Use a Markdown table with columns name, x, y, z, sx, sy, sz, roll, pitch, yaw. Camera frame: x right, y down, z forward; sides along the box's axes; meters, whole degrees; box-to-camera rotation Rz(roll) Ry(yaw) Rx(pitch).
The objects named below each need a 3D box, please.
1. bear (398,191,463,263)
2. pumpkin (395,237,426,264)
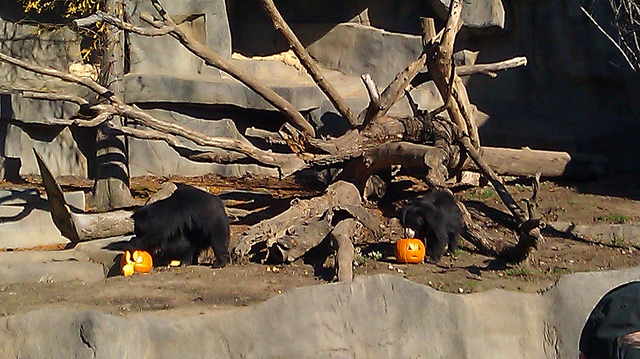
| name | x | y | z | sx | sy | sz | roll | pitch | yaw |
| --- | --- | --- | --- | --- | --- | --- | --- | --- | --- |
| bear | 2.410 | 1.023 | 20.389 | 1.777 | 1.522 | 1.051 | -12 | 13 | -43 |
| pumpkin | 1.927 | 1.460 | 20.013 | 0.613 | 0.572 | 0.599 | -13 | 13 | -42 |
